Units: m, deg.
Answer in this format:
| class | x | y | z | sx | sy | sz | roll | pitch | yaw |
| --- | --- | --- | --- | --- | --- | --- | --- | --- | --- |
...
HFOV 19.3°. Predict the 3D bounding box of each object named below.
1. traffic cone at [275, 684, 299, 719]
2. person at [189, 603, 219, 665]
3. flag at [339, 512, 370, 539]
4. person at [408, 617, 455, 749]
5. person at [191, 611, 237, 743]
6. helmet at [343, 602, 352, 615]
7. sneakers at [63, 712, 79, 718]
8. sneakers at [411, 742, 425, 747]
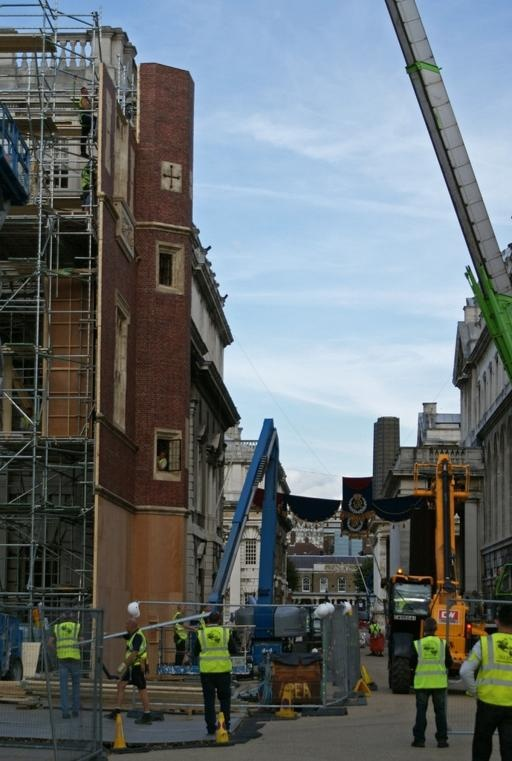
| class | x | y | z | sx | sy | sz | roll | pitch | yaw |
| --- | --- | --- | --- | --- | --- | --- | --- | --- | --- |
| traffic cone | 0.481 | 4.930 | 23.267 | 0.324 | 0.479 | 0.508 | 0 | -10 | 0 |
| person | -1.057 | 4.869 | 28.253 | 0.387 | 1.388 | 0.351 | 3 | 15 | -37 |
| flag | 3.292 | 4.672 | 49.476 | 0.921 | 0.722 | 2.260 | 0 | -10 | 3 |
| person | 2.322 | 3.947 | 19.875 | 0.527 | 1.658 | 1.140 | -1 | -9 | 7 |
| person | -0.563 | 3.954 | 20.332 | 0.502 | 1.665 | 0.930 | 1 | -9 | -3 |
| helmet | 1.628 | 3.956 | 26.298 | 0.179 | 0.233 | 0.314 | 0 | 13 | 0 |
| sneakers | -2.145 | 3.864 | 17.507 | 0.170 | 0.082 | 0.064 | -1 | -6 | 36 |
| sneakers | 2.098 | 4.649 | 19.343 | 0.172 | 0.070 | 0.256 | 0 | -10 | 1 |
